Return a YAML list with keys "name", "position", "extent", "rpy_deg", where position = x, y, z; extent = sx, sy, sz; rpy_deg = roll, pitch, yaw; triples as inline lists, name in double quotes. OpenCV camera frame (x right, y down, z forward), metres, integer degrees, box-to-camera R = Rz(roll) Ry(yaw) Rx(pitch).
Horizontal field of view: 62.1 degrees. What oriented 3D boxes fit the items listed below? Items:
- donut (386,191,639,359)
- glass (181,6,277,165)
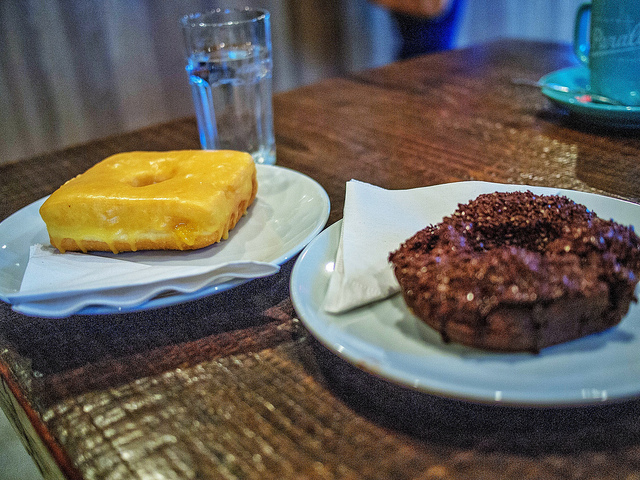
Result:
- name: "donut"
  position: [0.171, 0.022, 0.456]
  extent: [0.169, 0.059, 0.148]
  rpy_deg: [4, 31, 27]
- name: "glass"
  position: [-0.134, -0.232, 0.860]
  extent: [0.122, 0.256, 0.143]
  rpy_deg: [20, 30, 41]
